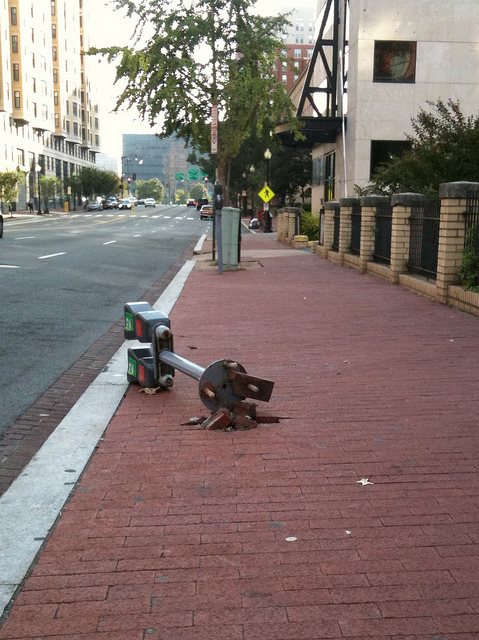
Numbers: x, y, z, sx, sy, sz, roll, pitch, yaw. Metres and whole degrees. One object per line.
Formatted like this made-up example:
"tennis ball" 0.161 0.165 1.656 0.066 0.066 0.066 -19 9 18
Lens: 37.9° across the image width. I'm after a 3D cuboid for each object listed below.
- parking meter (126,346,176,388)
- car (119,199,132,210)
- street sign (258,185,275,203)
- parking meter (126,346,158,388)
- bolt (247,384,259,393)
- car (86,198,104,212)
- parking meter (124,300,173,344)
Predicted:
"parking meter" -0.738 0.431 6.114 0.311 0.319 0.540 -8 18 -35
"car" -16.299 -16.678 100.298 1.273 1.341 2.221 -4 10 -21
"street sign" 1.363 -6.688 36.686 0.597 0.731 1.408 1 9 6
"parking meter" -0.807 0.401 6.152 0.249 0.313 0.434 -3 2 -29
"bolt" 0.096 0.510 5.222 0.061 0.059 0.061 30 -15 -18
"car" -18.718 -15.157 90.412 2.213 1.757 4.819 -3 10 -8
"parking meter" -0.769 0.037 6.083 0.242 0.262 0.669 -4 13 -23
